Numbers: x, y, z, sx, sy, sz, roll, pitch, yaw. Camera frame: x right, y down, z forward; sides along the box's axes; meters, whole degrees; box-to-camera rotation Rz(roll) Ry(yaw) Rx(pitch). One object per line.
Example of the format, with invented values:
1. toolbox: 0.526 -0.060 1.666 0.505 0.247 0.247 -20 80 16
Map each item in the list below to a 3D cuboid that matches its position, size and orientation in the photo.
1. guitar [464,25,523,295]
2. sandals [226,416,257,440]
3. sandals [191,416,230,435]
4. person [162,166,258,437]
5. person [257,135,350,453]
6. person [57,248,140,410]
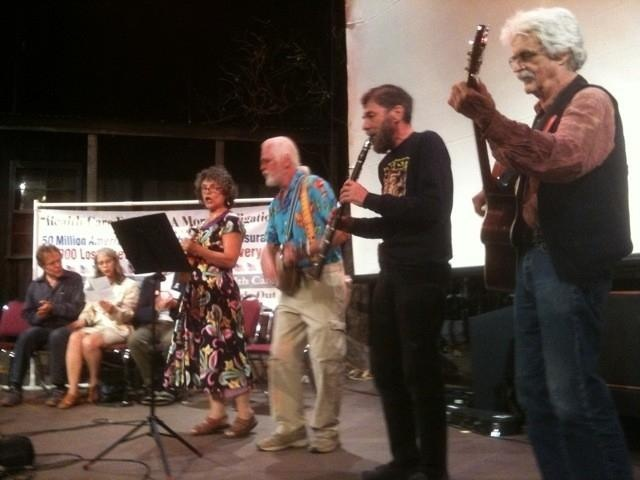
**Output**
1. guitar: 0.936 -0.270 3.457 0.134 1.029 0.412 -2 35 13
2. sandals: -0.603 1.448 4.971 0.107 0.098 0.256 -12 -11 29
3. sandals: -0.852 1.464 5.035 0.275 0.107 0.105 8 -17 -35
4. person: -0.817 0.545 5.205 0.669 2.180 0.762 2 -3 -41
5. person: -0.156 0.353 4.499 0.774 2.197 0.669 -8 -11 35
6. person: -2.302 0.854 6.618 0.639 1.529 0.915 -1 -3 13
